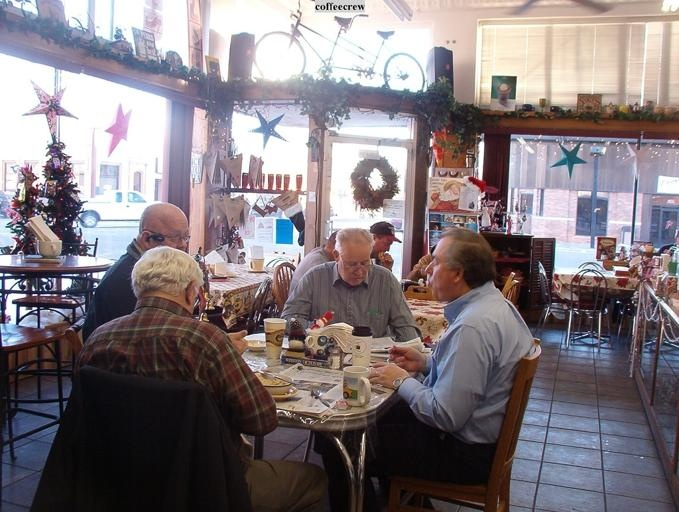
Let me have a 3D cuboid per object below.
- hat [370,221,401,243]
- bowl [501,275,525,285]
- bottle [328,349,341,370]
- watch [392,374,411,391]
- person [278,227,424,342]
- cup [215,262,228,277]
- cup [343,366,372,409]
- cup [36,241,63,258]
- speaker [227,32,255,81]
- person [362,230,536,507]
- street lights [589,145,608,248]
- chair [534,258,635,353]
[{"bbox_3d":[0.441,-0.223,4.844,0.236,0.130,0.156,9,6,-1],"label":"hat"},{"bbox_3d":[2.208,0.308,6.567,0.199,0.093,0.202,-1,1,0],"label":"bowl"},{"bbox_3d":[-0.018,0.510,2.492,0.067,0.127,0.068,1,4,0],"label":"bottle"},{"bbox_3d":[0.272,0.566,2.305,0.075,0.075,0.045,29,24,-39],"label":"watch"},{"bbox_3d":[0.100,0.187,3.385,0.939,1.208,0.650,2,7,-3],"label":"person"},{"bbox_3d":[-1.177,0.135,5.100,0.126,0.142,0.124,1,6,0],"label":"cup"},{"bbox_3d":[0.053,0.534,2.079,0.098,0.134,0.155,0,5,-9],"label":"cup"},{"bbox_3d":[-2.566,-0.052,4.528,0.169,0.131,0.156,1,1,0],"label":"cup"},{"bbox_3d":[-1.373,-2.804,7.195,0.377,0.652,0.255,3,7,-1],"label":"speaker"},{"bbox_3d":[0.504,0.474,2.311,0.681,1.178,0.431,5,7,18],"label":"person"},{"bbox_3d":[4.581,-1.066,9.194,0.220,1.733,0.660,7,8,29],"label":"street lights"},{"bbox_3d":[3.397,0.629,7.472,1.051,1.122,1.792,6,7,26],"label":"chair"}]
